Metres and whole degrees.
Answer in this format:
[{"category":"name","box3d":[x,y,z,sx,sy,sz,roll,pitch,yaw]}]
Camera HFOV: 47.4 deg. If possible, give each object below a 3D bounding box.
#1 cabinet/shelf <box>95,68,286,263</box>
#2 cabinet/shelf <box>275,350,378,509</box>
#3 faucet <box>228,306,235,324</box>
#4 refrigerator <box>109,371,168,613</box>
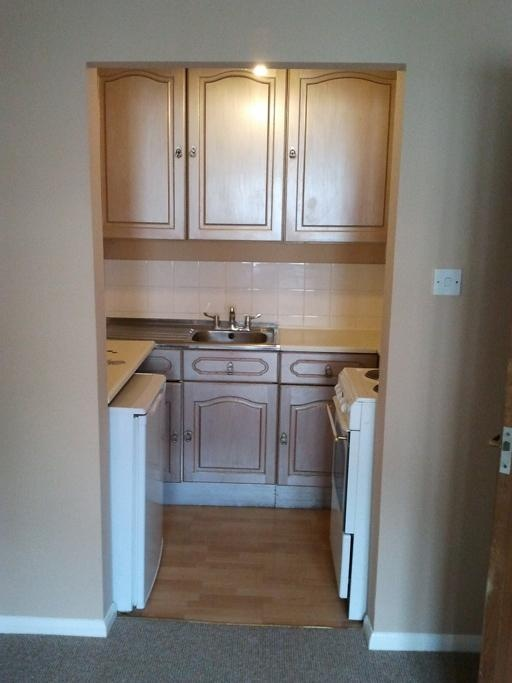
[{"category":"cabinet/shelf","box3d":[-0.317,-0.907,2.849,0.850,0.911,0.335,0,11,1]},{"category":"cabinet/shelf","box3d":[0.326,0.369,3.097,0.471,0.948,0.453,-1,23,-9]},{"category":"faucet","box3d":[-0.135,-0.151,3.322,0.036,0.105,0.076,1,8,-3]},{"category":"refrigerator","box3d":[-0.442,0.565,2.188,0.142,0.774,0.434,1,8,-4]}]
